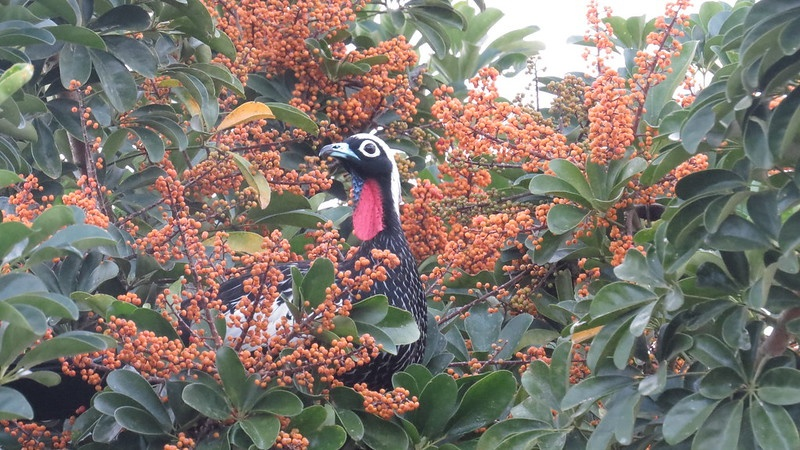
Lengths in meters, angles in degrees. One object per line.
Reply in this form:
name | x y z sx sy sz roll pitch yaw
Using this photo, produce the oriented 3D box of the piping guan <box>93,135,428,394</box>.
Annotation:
piping guan | -0.956 0.379 7.234 1.956 2.154 0.801 12 -32 -12
